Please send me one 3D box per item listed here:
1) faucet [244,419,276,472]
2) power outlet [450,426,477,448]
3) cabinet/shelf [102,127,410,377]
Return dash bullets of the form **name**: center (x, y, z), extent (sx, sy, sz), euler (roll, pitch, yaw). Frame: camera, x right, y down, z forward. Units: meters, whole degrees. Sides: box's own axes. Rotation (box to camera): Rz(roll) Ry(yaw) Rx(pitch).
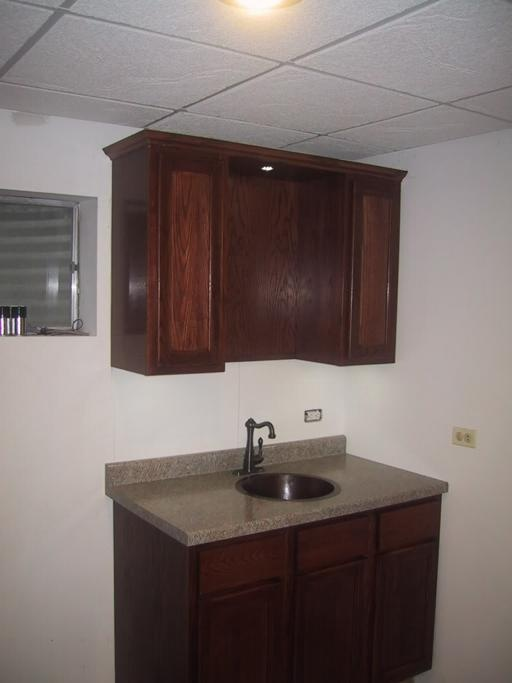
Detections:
- **faucet**: center (0.026, 0.448, 2.470), extent (0.161, 0.235, 0.223), euler (2, 4, 20)
- **power outlet**: center (0.843, 0.385, 2.279), extent (0.026, 0.087, 0.082), euler (2, -1, -32)
- **cabinet/shelf**: center (0.044, -0.332, 2.344), extent (1.053, 0.922, 0.378), euler (-2, 7, -27)
